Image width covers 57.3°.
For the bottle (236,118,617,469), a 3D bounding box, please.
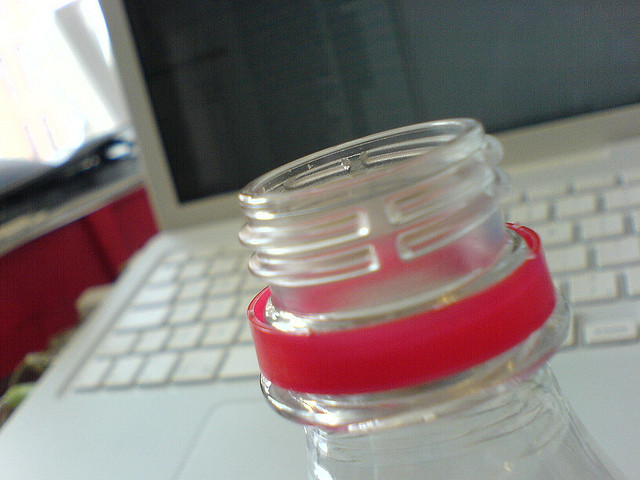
[{"bbox_3d":[0.053,0.054,0.342,0.183,0.223,0.113,-19,17,-13],"label":"bottle"}]
